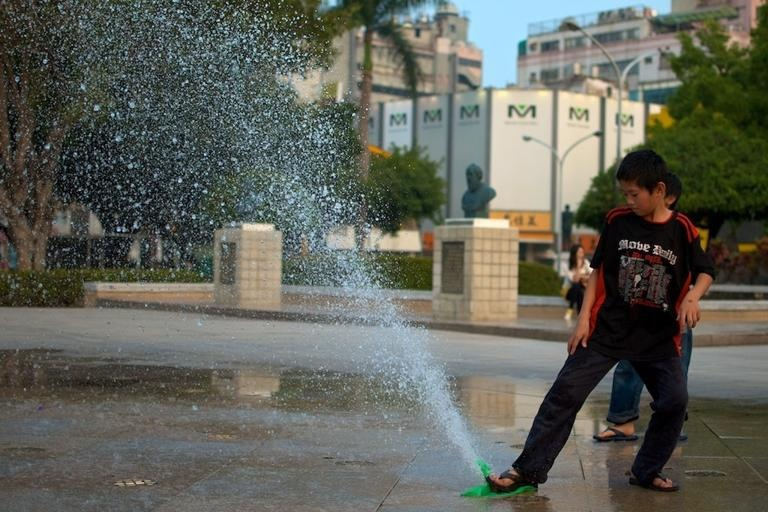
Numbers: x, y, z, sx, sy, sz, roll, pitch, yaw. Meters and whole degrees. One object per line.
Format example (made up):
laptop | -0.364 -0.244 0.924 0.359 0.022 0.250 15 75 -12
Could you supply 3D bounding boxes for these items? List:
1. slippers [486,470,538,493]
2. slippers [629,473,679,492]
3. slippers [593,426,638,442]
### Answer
slippers | 3.064 5.363 34.969 1.223 0.395 0.498 6 -3 -9
slippers | 6.497 5.440 35.006 0.941 0.283 0.457 3 38 13
slippers | 5.791 4.495 36.556 1.069 0.372 0.429 2 -8 -6
